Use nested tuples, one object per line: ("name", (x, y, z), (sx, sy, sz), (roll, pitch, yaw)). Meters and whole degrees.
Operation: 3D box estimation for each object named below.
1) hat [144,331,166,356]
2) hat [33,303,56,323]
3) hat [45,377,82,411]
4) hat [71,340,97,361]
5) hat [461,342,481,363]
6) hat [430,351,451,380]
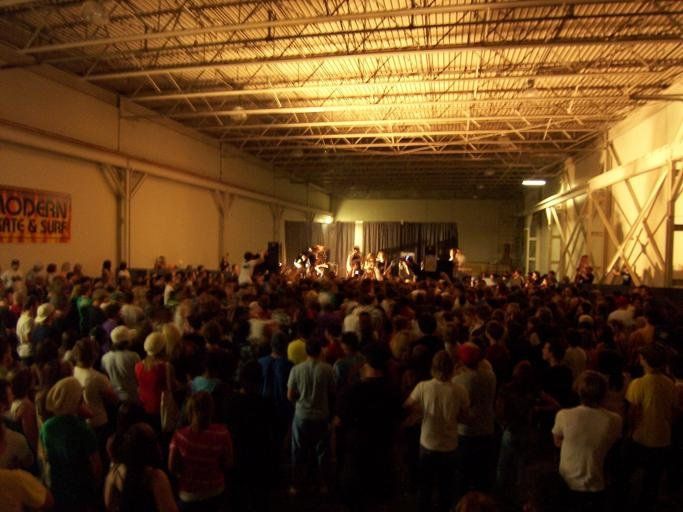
("hat", (-1.996, 0.939, 6.014), (0.166, 0.206, 0.252), (7, 25, -8))
("hat", (-3.752, 0.690, 7.174), (0.185, 0.164, 0.304), (-4, 28, 8))
("hat", (-2.500, 1.258, 5.063), (0.207, 0.313, 0.318), (4, 2, -11))
("hat", (-2.628, 0.966, 5.786), (0.166, 0.265, 0.226), (2, -4, -6))
("hat", (1.363, 1.017, 5.986), (0.210, 0.220, 0.150), (-1, -2, 12))
("hat", (1.016, 1.049, 5.654), (0.180, 0.275, 0.256), (4, 12, 13))
